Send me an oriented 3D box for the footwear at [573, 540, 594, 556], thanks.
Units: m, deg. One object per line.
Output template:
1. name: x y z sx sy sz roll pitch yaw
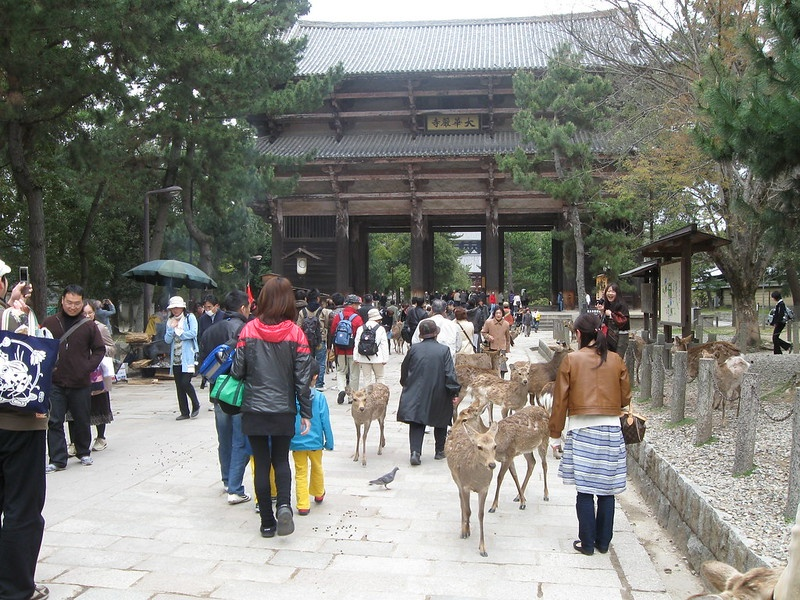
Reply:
1. footwear: 1.908 2.571 8.139 0.215 0.128 0.124 6 7 40

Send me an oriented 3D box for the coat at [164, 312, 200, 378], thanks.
1. coat: -3.710 0.833 13.228 0.548 1.547 0.484 -1 4 -2

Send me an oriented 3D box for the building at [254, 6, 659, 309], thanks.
1. building: 0.457 -6.282 36.313 18.526 15.815 12.022 -1 1 5

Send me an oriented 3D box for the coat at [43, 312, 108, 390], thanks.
1. coat: -4.119 0.664 9.857 1.042 1.073 0.549 2 1 -9

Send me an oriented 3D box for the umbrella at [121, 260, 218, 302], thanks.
1. umbrella: -5.361 -0.571 18.269 1.223 0.820 1.163 4 -2 -31

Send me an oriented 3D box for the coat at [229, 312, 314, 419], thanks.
1. coat: -1.384 0.722 8.516 0.893 1.063 0.671 3 -4 -2

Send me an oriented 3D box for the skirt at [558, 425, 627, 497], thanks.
1. skirt: 2.098 1.685 8.286 0.722 0.700 0.418 -2 -12 26

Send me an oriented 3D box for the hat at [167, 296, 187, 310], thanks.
1. hat: -3.773 0.048 13.146 0.226 0.151 0.273 0 -8 -5

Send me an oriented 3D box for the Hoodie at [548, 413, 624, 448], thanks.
1. Hoodie: 1.968 1.403 8.345 0.762 0.308 0.421 -3 -4 7

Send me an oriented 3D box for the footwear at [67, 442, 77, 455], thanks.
1. footwear: -4.607 2.076 10.954 0.128 0.141 0.345 2 2 -25

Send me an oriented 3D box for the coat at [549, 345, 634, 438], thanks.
1. coat: 2.075 0.977 8.400 0.791 0.918 0.493 1 -3 5

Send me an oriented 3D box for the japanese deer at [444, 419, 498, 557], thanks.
1. japanese deer: 0.777 1.935 8.390 0.474 1.313 0.891 0 6 -10

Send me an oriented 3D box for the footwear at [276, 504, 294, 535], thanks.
1. footwear: -1.216 2.339 8.248 0.181 0.377 0.221 0 6 -8

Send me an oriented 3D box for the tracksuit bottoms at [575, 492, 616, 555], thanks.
1. tracksuit bottoms: 2.040 2.308 8.166 0.393 0.640 0.237 0 6 -4

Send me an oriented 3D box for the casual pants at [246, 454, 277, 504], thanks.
1. casual pants: -1.505 1.961 8.541 0.282 0.683 1.044 4 -3 -8
